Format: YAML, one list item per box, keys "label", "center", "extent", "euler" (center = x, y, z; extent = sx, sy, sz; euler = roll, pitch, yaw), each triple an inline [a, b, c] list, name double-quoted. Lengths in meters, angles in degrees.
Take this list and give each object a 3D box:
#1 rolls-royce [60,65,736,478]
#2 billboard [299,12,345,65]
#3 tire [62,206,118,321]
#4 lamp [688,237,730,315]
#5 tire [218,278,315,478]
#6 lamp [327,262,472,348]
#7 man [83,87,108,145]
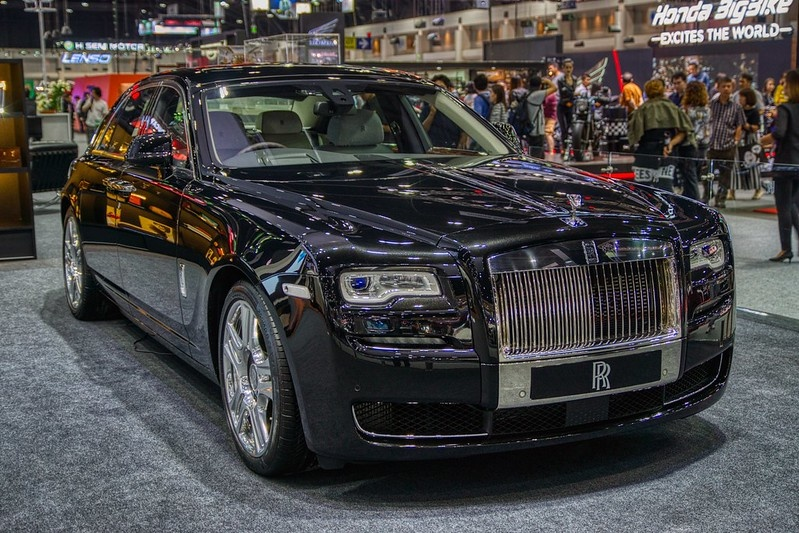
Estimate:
- label: "rolls-royce"
  center: [-0.863, -0.449, 4.540]
  extent: [2.420, 1.531, 5.133]
  euler: [-4, 10, -31]
- label: "billboard"
  center: [-2.840, -8.879, 23.066]
  extent: [2.033, 2.420, 1.434]
  euler: [7, 19, 18]
- label: "tire"
  center: [-2.837, -0.023, 5.371]
  extent: [0.357, 0.892, 0.950]
  euler: [1, 25, -31]
- label: "lamp"
  center: [1.660, 0.044, 3.136]
  extent: [0.317, 0.395, 0.160]
  euler: [12, -4, -34]
- label: "tire"
  center: [-0.660, 0.567, 2.952]
  extent: [0.280, 0.771, 0.792]
  euler: [-8, 45, -28]
- label: "lamp"
  center: [0.041, 0.188, 2.595]
  extent: [0.404, 0.190, 0.486]
  euler: [0, 12, -15]
- label: "man"
  center: [-10.676, -5.059, 20.629]
  extent: [1.016, 2.258, 0.728]
  euler: [6, 8, 20]
